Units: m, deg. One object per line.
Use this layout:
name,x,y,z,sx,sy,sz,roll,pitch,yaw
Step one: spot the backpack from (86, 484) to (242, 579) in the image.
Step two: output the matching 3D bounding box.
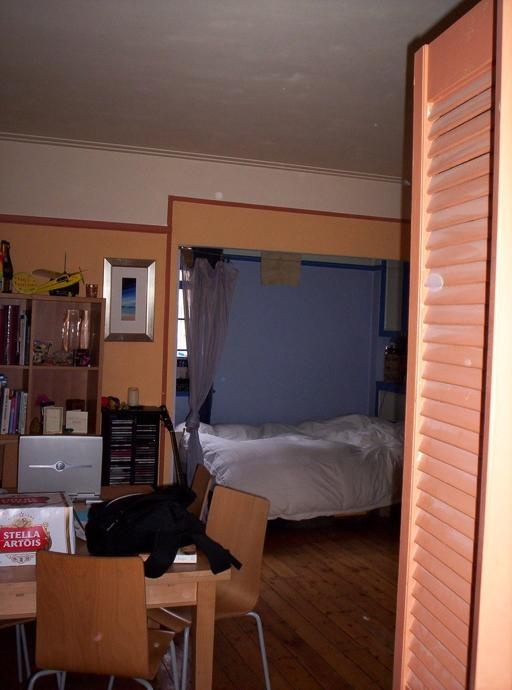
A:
backpack,-0.359,0.638,1.961,0.406,0.151,0.333,0,8,-15

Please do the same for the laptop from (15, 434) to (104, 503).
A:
laptop,-1.011,0.640,3.002,0.496,0.395,0.371,11,-30,-38

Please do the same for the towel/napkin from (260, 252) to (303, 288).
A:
towel/napkin,0.238,-0.576,4.796,0.398,0.282,0.227,-1,4,-22

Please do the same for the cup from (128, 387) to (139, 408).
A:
cup,-0.848,0.354,3.897,0.081,0.131,0.182,2,0,-13

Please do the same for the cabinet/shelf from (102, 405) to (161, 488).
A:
cabinet/shelf,-0.833,0.671,3.837,0.367,0.584,0.236,2,18,-13

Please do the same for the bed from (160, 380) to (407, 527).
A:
bed,0.602,1.003,5.334,2.066,0.583,2.107,-2,1,-17

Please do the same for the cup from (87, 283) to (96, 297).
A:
cup,-1.081,-0.357,3.714,0.073,0.082,0.074,0,4,0

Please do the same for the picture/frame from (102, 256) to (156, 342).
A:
picture/frame,-0.895,-0.312,3.966,0.333,0.588,0.023,1,-9,-11
